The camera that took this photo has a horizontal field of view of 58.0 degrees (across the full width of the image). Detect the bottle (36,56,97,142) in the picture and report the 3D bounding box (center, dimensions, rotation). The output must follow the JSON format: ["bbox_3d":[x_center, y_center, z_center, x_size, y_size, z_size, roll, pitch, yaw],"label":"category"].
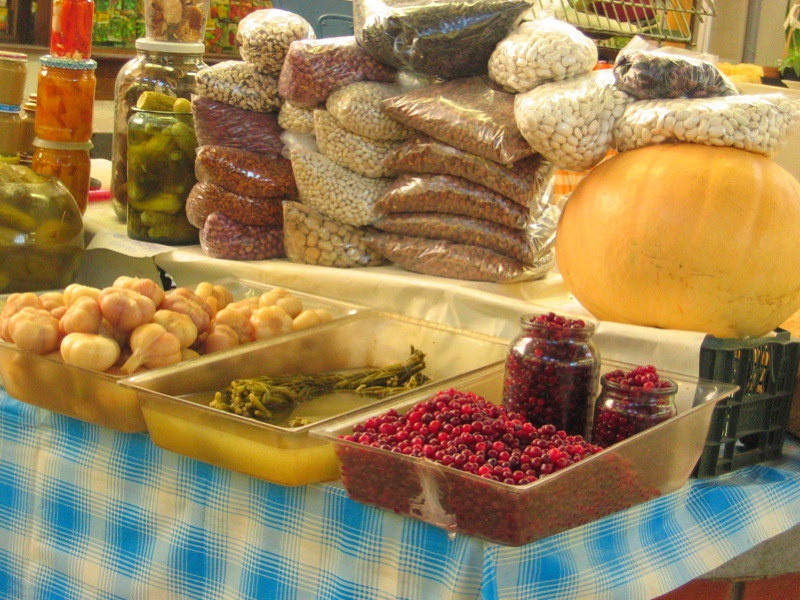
[{"bbox_3d":[-0.834,-0.492,1.773,0.154,0.201,0.096,-3,20,-18],"label":"bottle"}]

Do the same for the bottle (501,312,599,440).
[{"bbox_3d":[0.214,0.104,1.056,0.125,0.173,0.120,1,18,0],"label":"bottle"}]
